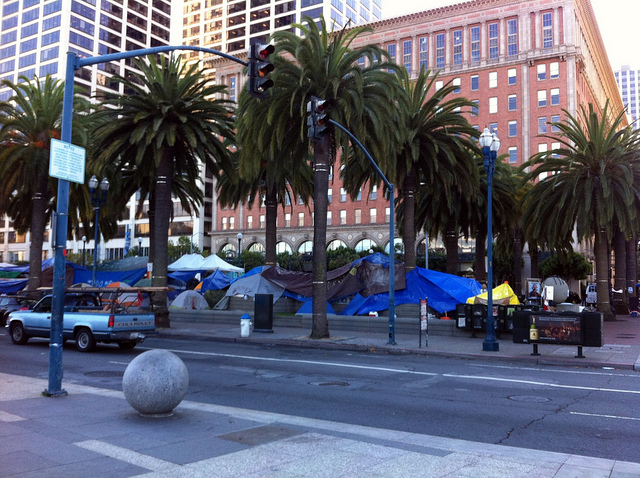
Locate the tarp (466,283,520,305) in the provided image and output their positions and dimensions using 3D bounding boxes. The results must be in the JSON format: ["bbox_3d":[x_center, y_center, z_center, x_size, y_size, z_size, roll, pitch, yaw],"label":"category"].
[{"bbox_3d":[9.573,2.864,35.915,1.541,0.990,1.661,-5,-8,33],"label":"tarp"}]

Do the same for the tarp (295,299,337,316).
[{"bbox_3d":[-0.318,4.130,41.305,1.812,0.881,2.777,2,-6,-28],"label":"tarp"}]

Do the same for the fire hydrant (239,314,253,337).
[{"bbox_3d":[-3.805,4.393,34.267,0.438,1.128,0.619,0,-4,-3],"label":"fire hydrant"}]

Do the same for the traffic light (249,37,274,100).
[{"bbox_3d":[-1.941,-5.650,22.235,0.741,1.991,0.673,0,-4,-8],"label":"traffic light"}]

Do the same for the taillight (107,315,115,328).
[{"bbox_3d":[-8.809,3.472,28.286,0.253,0.521,0.084,1,-4,-20],"label":"taillight"}]

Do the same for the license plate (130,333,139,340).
[{"bbox_3d":[-7.981,4.178,28.836,0.061,0.287,0.268,-4,-9,37],"label":"license plate"}]

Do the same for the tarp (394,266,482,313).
[{"bbox_3d":[6.720,2.791,40.124,5.845,2.484,5.511,-3,-4,11],"label":"tarp"}]

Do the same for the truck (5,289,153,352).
[{"bbox_3d":[-10.744,4.219,30.533,6.252,2.735,2.924,2,-5,29],"label":"truck"}]

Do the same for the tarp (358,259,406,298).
[{"bbox_3d":[3.567,2.280,39.813,2.263,2.163,0.866,-9,-15,20],"label":"tarp"}]

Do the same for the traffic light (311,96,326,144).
[{"bbox_3d":[-0.066,-4.855,27.258,0.547,1.824,1.015,0,-4,-2],"label":"traffic light"}]
